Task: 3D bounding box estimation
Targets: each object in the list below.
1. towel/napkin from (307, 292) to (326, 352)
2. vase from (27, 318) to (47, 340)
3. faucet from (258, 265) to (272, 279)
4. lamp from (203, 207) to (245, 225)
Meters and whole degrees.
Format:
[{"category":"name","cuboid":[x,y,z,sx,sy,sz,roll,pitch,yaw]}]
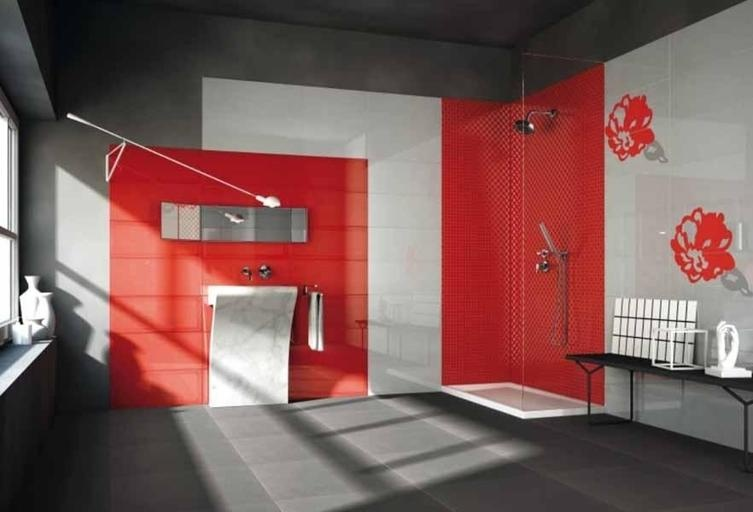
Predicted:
[{"category":"towel/napkin","cuboid":[-0.668,0.742,6.098,0.134,0.631,0.191,-4,-1,0]},{"category":"vase","cuboid":[-3.196,0.706,5.204,0.178,0.173,0.176,3,-8,-26]},{"category":"faucet","cuboid":[-1.204,0.173,5.940,0.137,0.133,0.048,4,-1,-14]},{"category":"lamp","cuboid":[-1.636,-0.431,5.864,0.336,0.088,0.172,4,-3,-14]}]
